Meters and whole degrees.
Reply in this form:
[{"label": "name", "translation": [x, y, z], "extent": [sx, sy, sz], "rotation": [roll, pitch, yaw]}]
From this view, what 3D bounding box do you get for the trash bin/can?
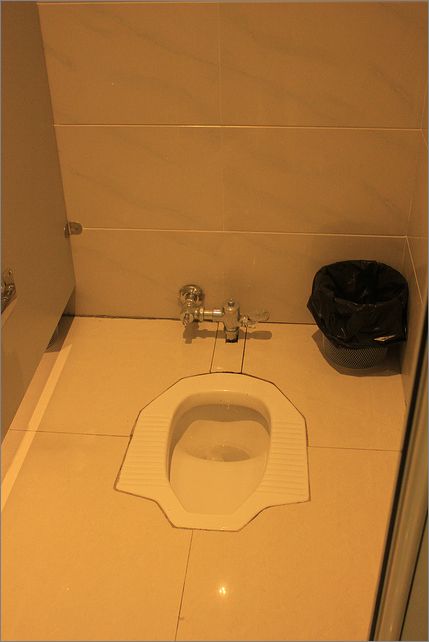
[{"label": "trash bin/can", "translation": [0.428, 0.021, 1.667], "extent": [0.274, 0.307, 0.244], "rotation": [2, -51, 18]}]
